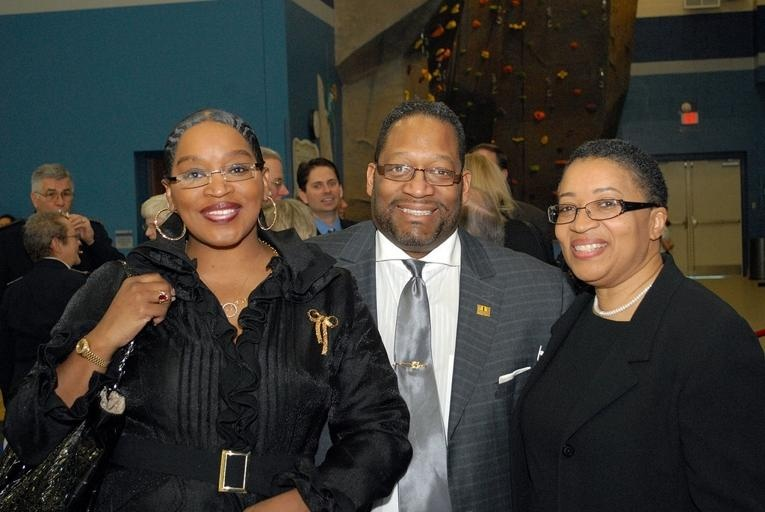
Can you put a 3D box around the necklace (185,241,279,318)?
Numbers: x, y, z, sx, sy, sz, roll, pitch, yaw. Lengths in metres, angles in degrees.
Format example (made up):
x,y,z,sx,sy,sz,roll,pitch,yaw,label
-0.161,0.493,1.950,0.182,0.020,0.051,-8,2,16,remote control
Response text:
x,y,z,sx,sy,sz,roll,pitch,yaw,label
-0.610,0.140,2.871,0.284,0.367,0.138,-4,-11,-7,necklace

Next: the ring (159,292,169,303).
x,y,z,sx,sy,sz,roll,pitch,yaw,label
-0.898,0.167,2.589,0.048,0.044,0.019,1,-6,-22,ring
